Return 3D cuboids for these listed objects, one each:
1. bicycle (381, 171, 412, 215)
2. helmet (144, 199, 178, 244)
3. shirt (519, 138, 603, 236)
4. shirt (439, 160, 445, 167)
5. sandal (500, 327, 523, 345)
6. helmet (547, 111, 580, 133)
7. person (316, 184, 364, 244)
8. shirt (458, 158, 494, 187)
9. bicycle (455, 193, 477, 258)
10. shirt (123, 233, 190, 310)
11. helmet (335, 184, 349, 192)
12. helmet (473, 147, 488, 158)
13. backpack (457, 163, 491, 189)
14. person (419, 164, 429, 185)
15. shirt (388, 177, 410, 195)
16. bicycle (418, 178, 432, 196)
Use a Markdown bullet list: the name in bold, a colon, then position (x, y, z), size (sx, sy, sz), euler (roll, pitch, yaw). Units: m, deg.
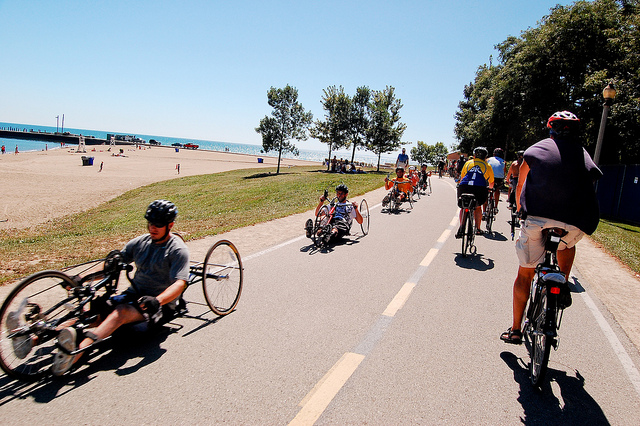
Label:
- **bicycle**: position (2.979, -0.646, 14.614), size (0.987, 1.163, 1.485), euler (7, 12, 19)
- **helmet**: position (-2.156, 0.146, 5.462), size (0.376, 0.601, 0.451), euler (-13, 7, -14)
- **shirt**: position (3.123, -0.385, 5.043), size (1.006, 1.254, 0.748), euler (12, -5, 11)
- **shirt**: position (11.474, -4.693, 36.179), size (0.551, 0.600, 0.575), euler (-13, 27, -25)
- **sandal**: position (2.649, 1.680, 5.306), size (0.146, 0.147, 0.348), euler (1, 2, 8)
- **helmet**: position (3.109, -1.157, 4.892), size (0.257, 0.198, 0.378), euler (6, 19, 14)
- **person**: position (0.467, 0.028, 9.855), size (0.613, 1.406, 1.474), euler (13, 15, 43)
- **shirt**: position (3.899, -1.118, 9.802), size (1.098, 0.377, 0.870), euler (21, -12, -40)
- **bicycle**: position (3.360, 0.277, 8.794), size (0.378, 1.400, 0.755), euler (7, 12, 20)
- **shirt**: position (-2.342, 0.809, 5.439), size (0.967, 1.013, 0.571), euler (12, 1, 2)
- **helmet**: position (0.587, -0.609, 10.045), size (0.215, 0.249, 0.277), euler (6, 18, 11)
- **helmet**: position (3.997, -1.517, 9.522), size (0.243, 0.303, 0.317), euler (13, 35, 23)
- **backpack**: position (3.689, -0.817, 9.283), size (0.469, 0.653, 0.808), euler (1, 12, -7)
- **person**: position (5.816, -2.052, 20.968), size (0.744, 0.748, 1.157), euler (0, 2, 13)
- **shirt**: position (3.239, -1.122, 15.351), size (0.743, 0.691, 1.053), euler (4, 11, 5)
- **bicycle**: position (6.024, -1.513, 21.971), size (0.836, 0.926, 1.476), euler (1, -1, 6)
